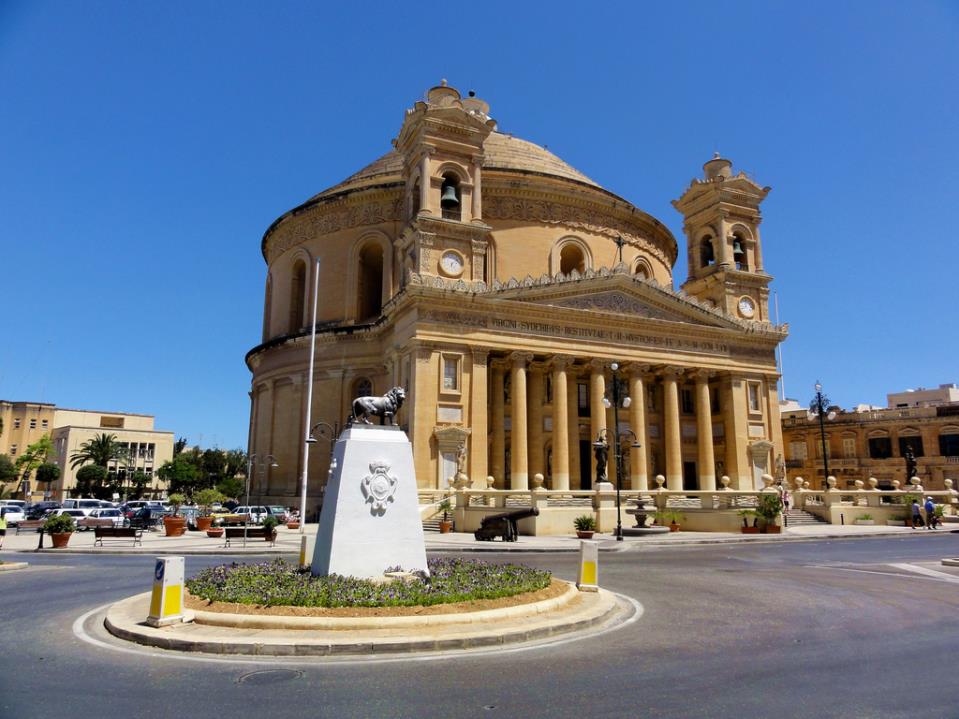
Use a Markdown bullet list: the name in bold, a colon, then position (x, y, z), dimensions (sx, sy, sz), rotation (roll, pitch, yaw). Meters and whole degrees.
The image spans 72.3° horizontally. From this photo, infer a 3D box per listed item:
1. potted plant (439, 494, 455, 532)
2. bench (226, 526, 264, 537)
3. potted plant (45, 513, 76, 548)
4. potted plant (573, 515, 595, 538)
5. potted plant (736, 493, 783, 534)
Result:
- **potted plant**: position (-1.745, 8.192, 35.276), dimensions (0.755, 1.835, 2.146), rotation (1, -13, -2)
- **bench**: position (-11.045, 8.053, 31.189), dimensions (1.437, 0.545, 3.541), rotation (3, -13, -13)
- **potted plant**: position (-19.040, 7.669, 30.006), dimensions (1.424, 1.495, 1.414), rotation (2, -11, -9)
- **potted plant**: position (5.188, 8.204, 32.524), dimensions (0.948, 0.916, 0.931), rotation (5, -28, -8)
- **potted plant**: position (15.992, 8.435, 36.877), dimensions (2.318, 2.421, 1.890), rotation (4, -14, -8)
